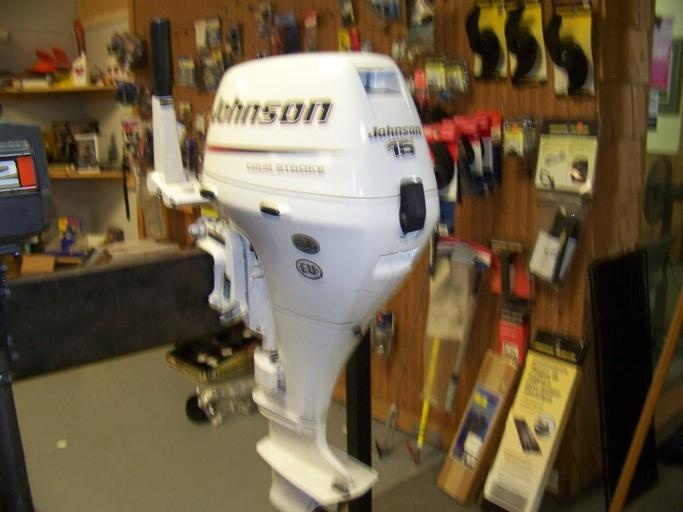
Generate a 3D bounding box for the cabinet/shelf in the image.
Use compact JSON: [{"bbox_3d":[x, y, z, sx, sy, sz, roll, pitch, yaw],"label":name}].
[{"bbox_3d":[-1.302,-0.669,2.748,0.589,1.140,0.972,-13,21,-30],"label":"cabinet/shelf"}]
